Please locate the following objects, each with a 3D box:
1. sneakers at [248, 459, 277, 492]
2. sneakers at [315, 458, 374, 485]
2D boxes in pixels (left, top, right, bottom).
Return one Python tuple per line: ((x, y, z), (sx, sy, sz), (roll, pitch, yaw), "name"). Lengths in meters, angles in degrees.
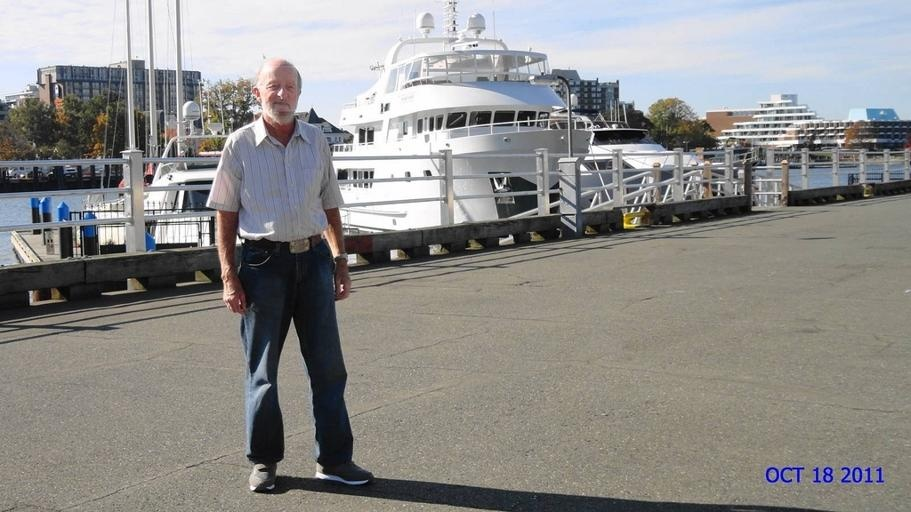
((-1.500, 1.731, 5.805), (0.122, 0.118, 0.286), (4, 7, -7), "sneakers")
((-0.870, 1.729, 5.931), (0.447, 0.188, 0.173), (2, 2, 5), "sneakers")
